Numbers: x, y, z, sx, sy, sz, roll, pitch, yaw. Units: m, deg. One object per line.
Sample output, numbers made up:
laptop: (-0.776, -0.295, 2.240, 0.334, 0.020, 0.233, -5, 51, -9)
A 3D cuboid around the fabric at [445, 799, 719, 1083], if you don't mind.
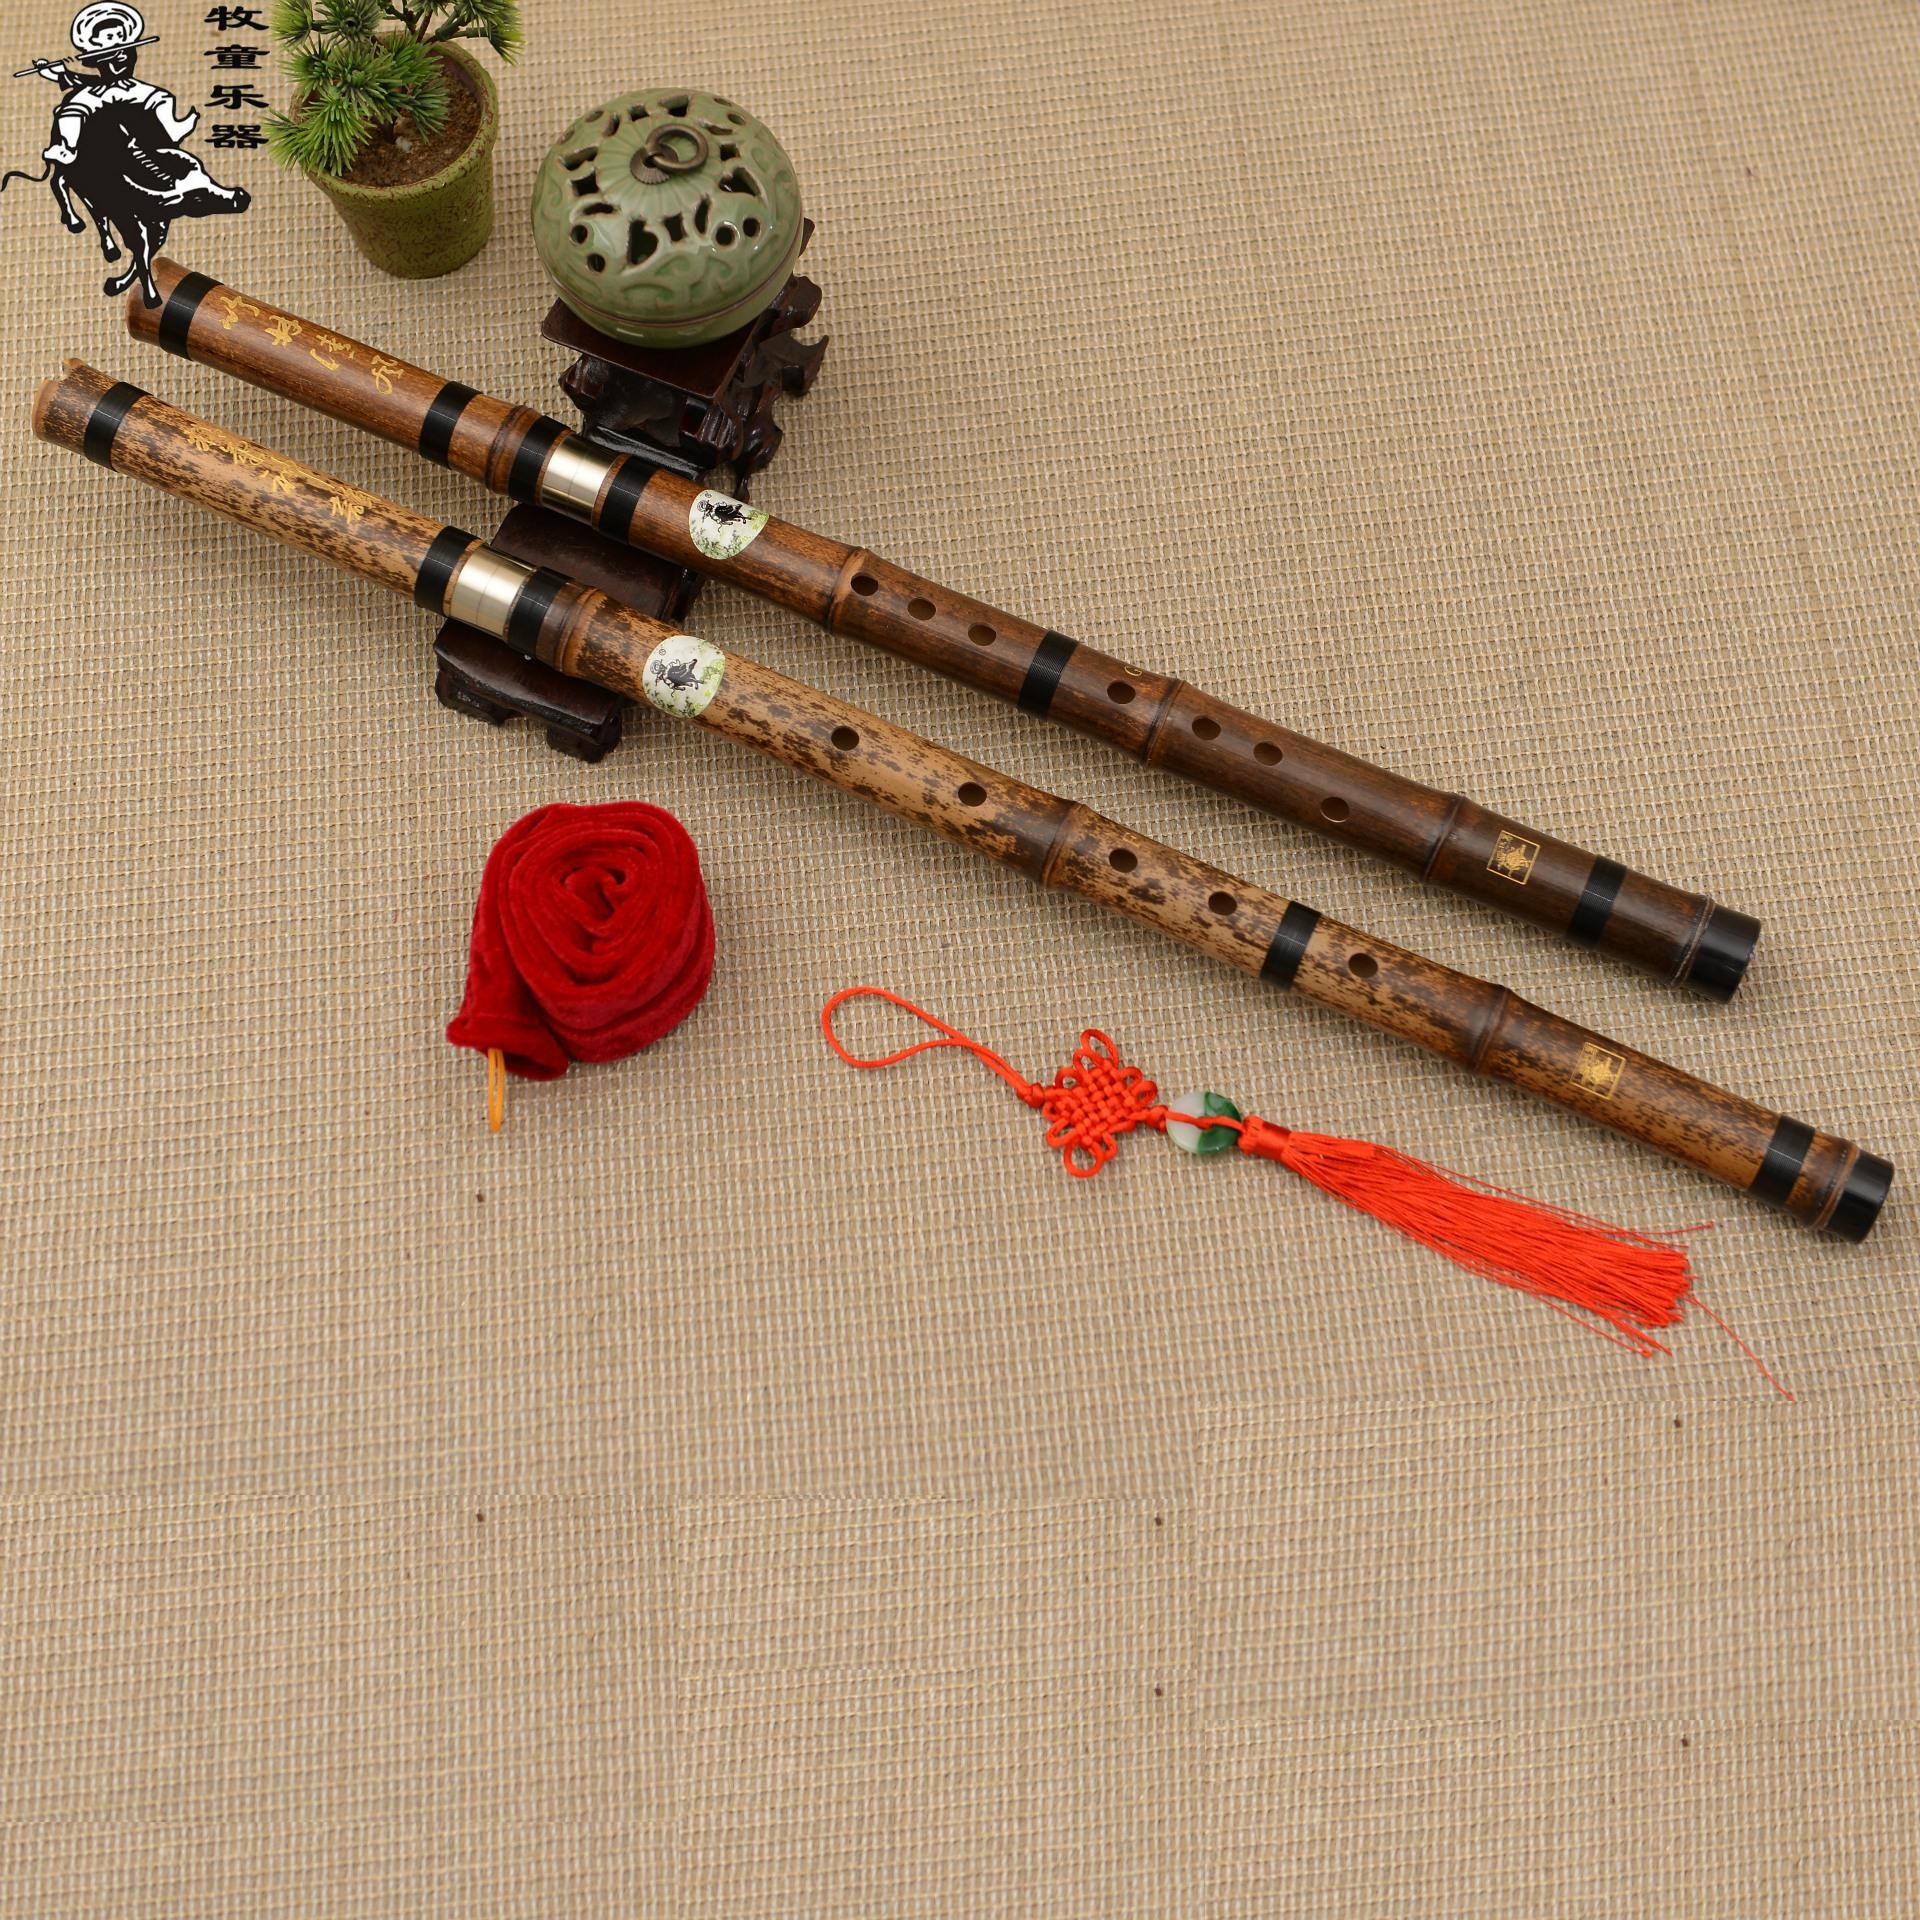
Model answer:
fabric: (-0.377, -0.020, 2.341, 0.255, 0.272, 0.139, 22, -12, 2)
